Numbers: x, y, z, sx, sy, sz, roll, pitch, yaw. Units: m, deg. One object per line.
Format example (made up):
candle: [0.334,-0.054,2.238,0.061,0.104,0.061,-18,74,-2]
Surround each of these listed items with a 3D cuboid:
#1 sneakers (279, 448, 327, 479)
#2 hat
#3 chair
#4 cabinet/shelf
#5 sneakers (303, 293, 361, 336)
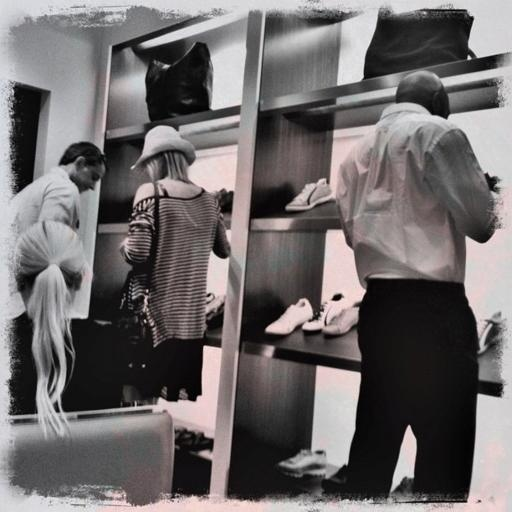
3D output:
sneakers: [0.173,0.732,2.325,0.144,0.084,0.089,2,-1,12]
hat: [-0.363,-0.420,2.684,0.194,0.096,0.173,-21,-18,20]
chair: [-0.567,0.666,2.345,0.494,0.399,0.183,3,21,3]
cabinet/shelf: [0.179,0.031,2.329,1.531,1.594,0.490,8,-6,38]
sneakers: [0.272,0.209,2.280,0.183,0.076,0.109,-30,9,-26]
